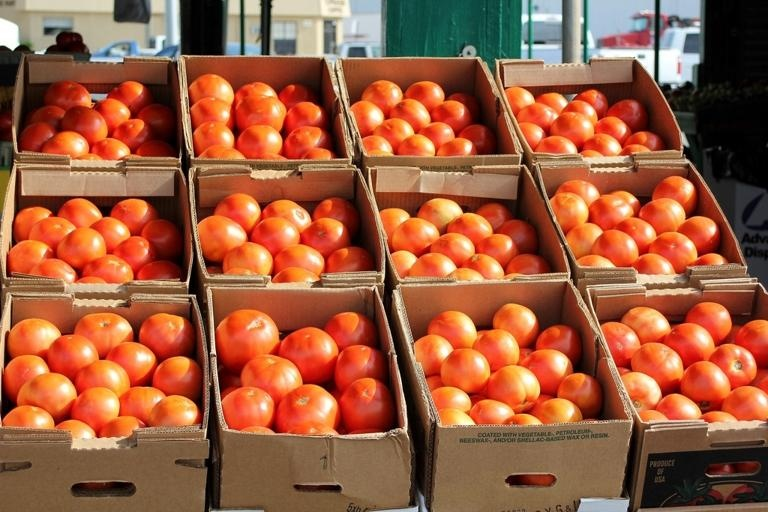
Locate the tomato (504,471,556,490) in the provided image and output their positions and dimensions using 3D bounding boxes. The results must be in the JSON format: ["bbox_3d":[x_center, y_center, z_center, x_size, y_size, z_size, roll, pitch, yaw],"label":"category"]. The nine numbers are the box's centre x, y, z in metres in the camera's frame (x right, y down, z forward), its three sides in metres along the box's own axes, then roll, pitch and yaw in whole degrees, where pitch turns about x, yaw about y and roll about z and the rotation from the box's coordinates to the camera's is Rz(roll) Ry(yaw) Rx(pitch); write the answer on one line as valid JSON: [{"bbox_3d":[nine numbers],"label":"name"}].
[{"bbox_3d":[0.621,0.932,3.296,0.150,0.049,0.091,-5,3,3],"label":"tomato"}]
